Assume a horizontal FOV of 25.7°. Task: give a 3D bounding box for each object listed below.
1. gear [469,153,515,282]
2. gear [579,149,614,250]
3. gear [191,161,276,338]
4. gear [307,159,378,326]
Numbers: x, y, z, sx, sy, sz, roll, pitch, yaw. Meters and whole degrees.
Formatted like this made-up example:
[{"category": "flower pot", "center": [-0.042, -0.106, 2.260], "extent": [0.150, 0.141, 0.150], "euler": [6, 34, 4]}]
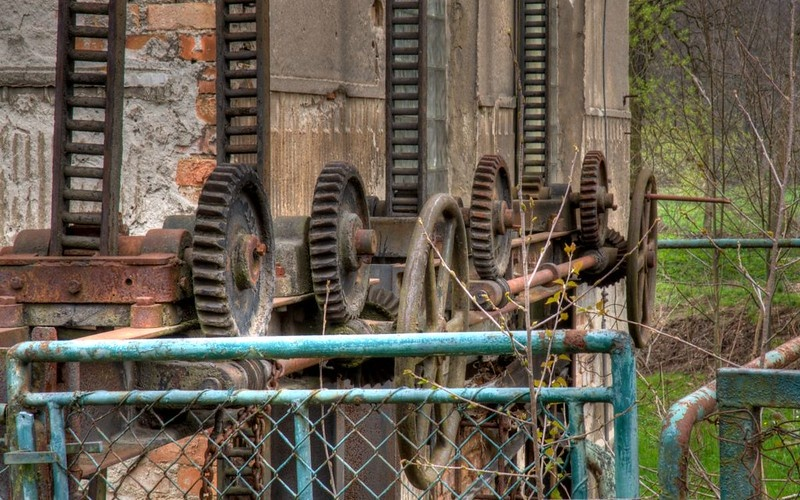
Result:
[{"category": "gear", "center": [1.183, -0.426, 21.809], "extent": [0.385, 1.664, 1.460], "euler": [0, -8, 16]}, {"category": "gear", "center": [2.738, -0.721, 24.305], "extent": [0.383, 1.401, 1.221], "euler": [1, -4, 18]}, {"category": "gear", "center": [-1.800, 0.060, 18.961], "extent": [0.417, 1.525, 1.353], "euler": [1, -18, 15]}, {"category": "gear", "center": [-0.627, -0.090, 20.127], "extent": [0.615, 1.904, 1.700], "euler": [0, 18, 17]}]
